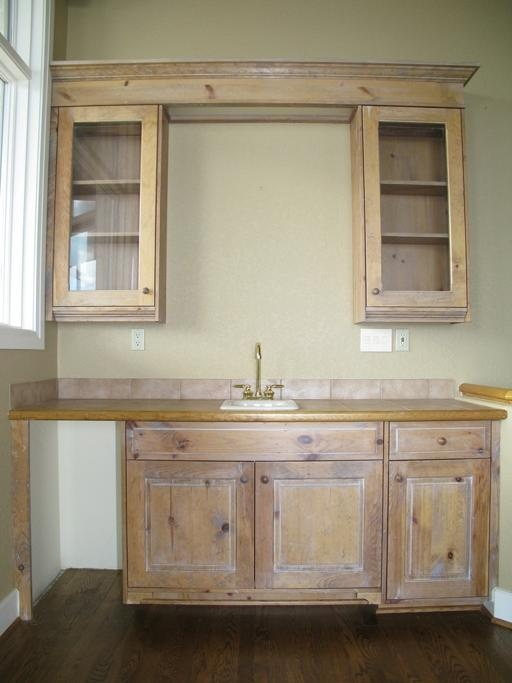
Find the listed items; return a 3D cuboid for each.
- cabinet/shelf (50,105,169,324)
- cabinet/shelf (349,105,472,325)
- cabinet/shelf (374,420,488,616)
[{"bbox_3d":[-0.654,-0.546,3.164,0.505,0.952,0.225,2,3,8],"label":"cabinet/shelf"},{"bbox_3d":[0.692,-0.564,3.071,0.475,0.921,0.297,-1,14,-5],"label":"cabinet/shelf"},{"bbox_3d":[0.736,0.706,2.806,0.422,0.724,0.242,1,14,4],"label":"cabinet/shelf"}]
